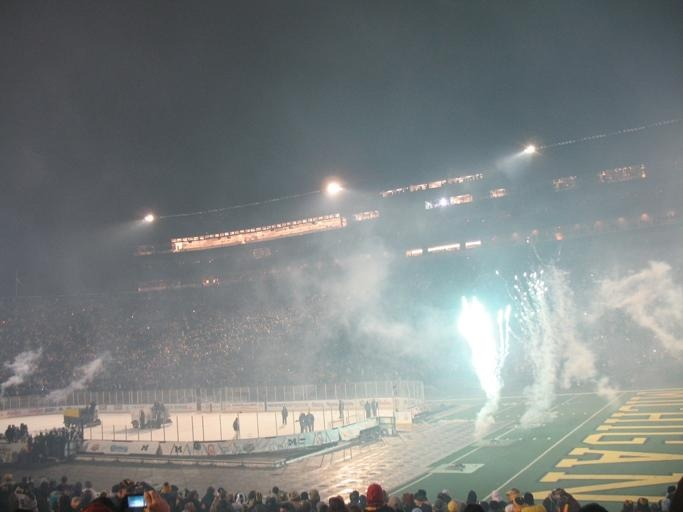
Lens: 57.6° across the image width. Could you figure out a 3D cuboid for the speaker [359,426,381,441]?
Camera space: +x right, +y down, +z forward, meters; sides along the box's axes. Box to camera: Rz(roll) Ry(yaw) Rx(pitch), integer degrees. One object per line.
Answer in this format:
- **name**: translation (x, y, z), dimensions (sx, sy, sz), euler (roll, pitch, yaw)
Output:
- **speaker**: translation (1.849, 11.693, 40.812), dimensions (1.637, 1.053, 0.338), euler (8, -26, -29)
